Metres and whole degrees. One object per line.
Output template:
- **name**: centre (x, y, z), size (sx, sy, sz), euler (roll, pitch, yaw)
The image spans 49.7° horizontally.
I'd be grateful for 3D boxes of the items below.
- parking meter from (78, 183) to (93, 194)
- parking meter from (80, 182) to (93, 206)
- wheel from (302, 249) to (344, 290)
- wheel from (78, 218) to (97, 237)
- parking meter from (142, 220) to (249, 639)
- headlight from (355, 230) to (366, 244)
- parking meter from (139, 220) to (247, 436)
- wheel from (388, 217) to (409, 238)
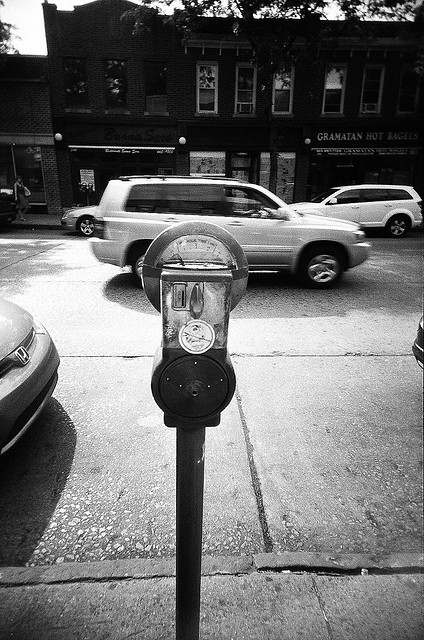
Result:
- **parking meter**: centre (-4.700, -5.055, 16.998), size (0.519, 0.566, 0.298), euler (3, 24, 0)
- **parking meter**: centre (-4.669, -4.729, 17.084), size (0.457, 0.788, 0.153), euler (2, 12, 9)
- **wheel**: centre (1.577, -0.783, 6.477), size (0.546, 0.663, 0.225), euler (-3, 32, 15)
- **wheel**: centre (-3.415, -2.505, 12.362), size (0.406, 0.495, 0.391), euler (0, 13, 0)
- **parking meter**: centre (-0.028, 0.335, 1.218), size (0.291, 1.161, 0.392), euler (-2, 12, -7)
- **headlight**: centre (2.106, -1.174, 6.418), size (0.101, 0.182, 0.349), euler (8, 16, 32)
- **parking meter**: centre (-0.027, 0.038, 1.096), size (0.179, 0.536, 0.192), euler (-1, 13, -9)
- **wheel**: centre (5.125, -2.569, 12.554), size (0.338, 0.410, 0.124), euler (-14, 18, -4)
